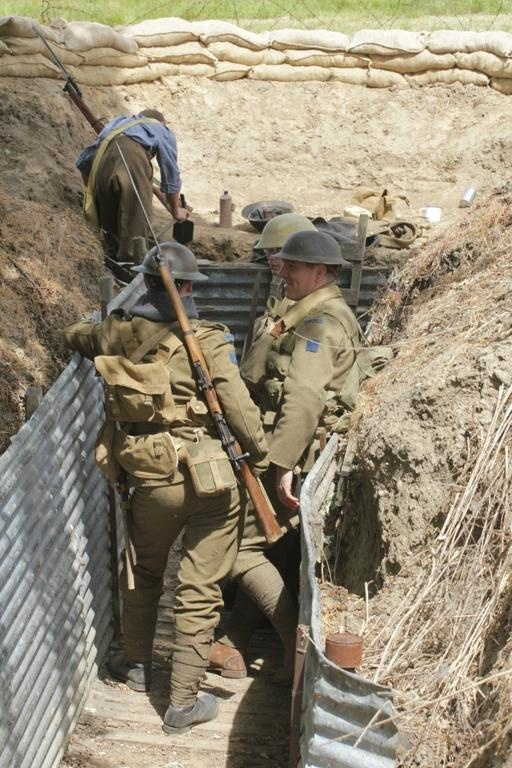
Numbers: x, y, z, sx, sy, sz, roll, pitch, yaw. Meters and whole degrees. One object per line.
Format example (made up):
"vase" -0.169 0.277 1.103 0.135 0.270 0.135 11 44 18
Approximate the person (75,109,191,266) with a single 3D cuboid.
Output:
"person" -0.875 -1.416 7.362 0.827 1.290 0.587 4 -9 -11

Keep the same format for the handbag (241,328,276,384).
"handbag" 0.005 -0.135 5.317 0.072 0.273 0.167 26 -4 -25

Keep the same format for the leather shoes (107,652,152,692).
"leather shoes" -0.605 1.370 4.756 0.248 0.119 0.114 28 20 31

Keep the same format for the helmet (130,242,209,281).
"helmet" -0.396 -0.552 4.493 0.240 0.106 0.218 14 2 -7

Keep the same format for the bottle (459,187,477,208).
"bottle" 2.401 -2.098 11.372 0.154 0.273 0.521 9 24 9

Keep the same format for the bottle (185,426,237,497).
"bottle" -0.199 0.354 4.323 0.177 0.097 0.266 -9 64 -26

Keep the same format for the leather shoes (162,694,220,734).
"leather shoes" -0.295 1.487 4.497 0.103 0.116 0.271 7 11 25

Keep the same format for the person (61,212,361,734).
"person" -0.353 0.492 4.528 0.717 2.060 1.086 -9 28 -27

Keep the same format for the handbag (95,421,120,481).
"handbag" -0.669 0.337 4.452 0.106 0.333 0.147 -2 25 -14

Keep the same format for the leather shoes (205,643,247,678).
"leather shoes" -0.163 1.391 5.006 0.120 0.118 0.264 -2 15 -27
